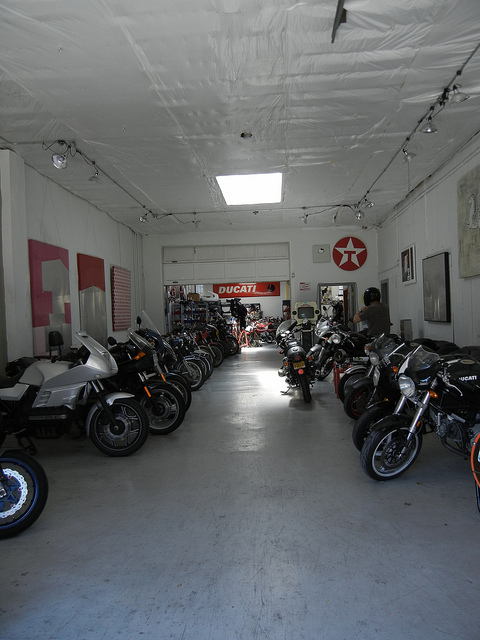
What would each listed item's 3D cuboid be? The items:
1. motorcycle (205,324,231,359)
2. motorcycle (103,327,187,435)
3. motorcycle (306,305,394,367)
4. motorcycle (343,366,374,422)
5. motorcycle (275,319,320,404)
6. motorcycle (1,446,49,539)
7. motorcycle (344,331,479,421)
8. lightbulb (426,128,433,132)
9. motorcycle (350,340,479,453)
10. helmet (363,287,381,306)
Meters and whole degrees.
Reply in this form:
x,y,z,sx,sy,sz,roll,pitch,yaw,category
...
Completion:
x,y,z,sx,sy,sz,roll,pitch,yaw,category
-0.488,0.506,9.777,0.911,0.562,0.479,-1,6,-7,motorcycle
-1.157,0.585,4.117,1.213,0.755,0.575,-1,8,2,motorcycle
1.499,0.334,5.671,1.176,0.689,0.695,-8,4,0,motorcycle
1.136,0.718,3.867,0.154,0.544,0.592,18,5,25,motorcycle
0.752,0.532,5.638,0.523,0.675,1.161,-7,11,3,motorcycle
-1.153,0.874,2.148,0.201,0.453,0.421,0,-3,-31,motorcycle
1.437,0.561,3.693,1.245,0.686,0.663,-2,1,-15,motorcycle
1.932,-1.947,4.140,0.029,0.019,0.032,-8,17,-15,lightbulb
1.174,0.488,2.891,1.041,0.577,0.542,-8,-1,-29,motorcycle
1.749,-0.307,5.305,0.197,0.237,0.237,-10,17,-27,helmet
